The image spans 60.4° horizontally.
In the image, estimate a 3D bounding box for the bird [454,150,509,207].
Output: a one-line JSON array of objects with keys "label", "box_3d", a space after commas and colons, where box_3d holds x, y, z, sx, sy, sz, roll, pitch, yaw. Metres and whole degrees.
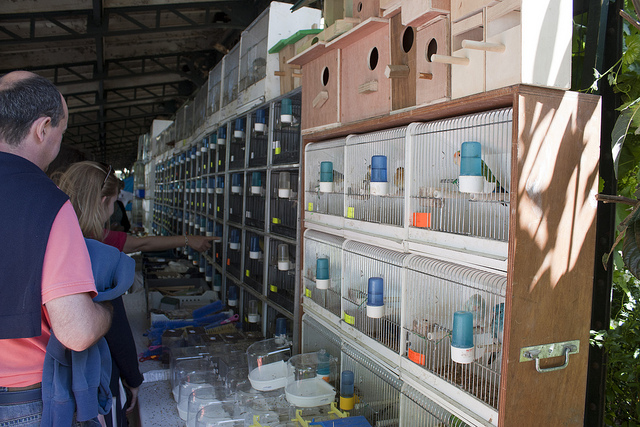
[{"label": "bird", "box_3d": [0.715, -0.164, 2.465, 0.239, 0.246, 0.111, 1, 3, 22]}]

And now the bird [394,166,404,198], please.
[{"label": "bird", "box_3d": [0.405, -0.166, 2.804, 0.025, 0.157, 0.081, -1, 3, -23]}]

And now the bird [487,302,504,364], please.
[{"label": "bird", "box_3d": [0.765, 0.512, 2.399, 0.035, 0.232, 0.043, 1, 1, -16]}]

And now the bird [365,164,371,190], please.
[{"label": "bird", "box_3d": [0.260, -0.203, 3.003, 0.019, 0.131, 0.055, 0, 3, -9]}]

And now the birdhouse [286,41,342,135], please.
[{"label": "birdhouse", "box_3d": [-0.038, -0.720, 3.203, 0.192, 0.527, 0.275, -4, 9, -28]}]

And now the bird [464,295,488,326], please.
[{"label": "bird", "box_3d": [0.712, 0.436, 2.497, 0.065, 0.113, 0.074, 5, -8, -36]}]

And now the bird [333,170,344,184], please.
[{"label": "bird", "box_3d": [0.104, -0.225, 3.273, 0.025, 0.075, 0.087, -3, 5, -44]}]
